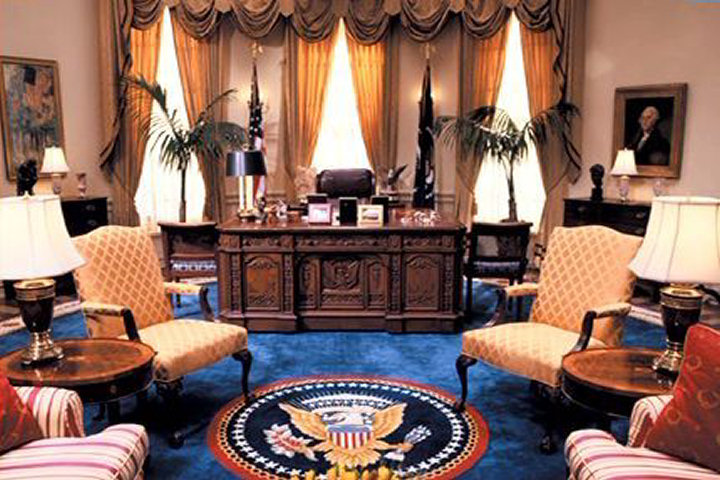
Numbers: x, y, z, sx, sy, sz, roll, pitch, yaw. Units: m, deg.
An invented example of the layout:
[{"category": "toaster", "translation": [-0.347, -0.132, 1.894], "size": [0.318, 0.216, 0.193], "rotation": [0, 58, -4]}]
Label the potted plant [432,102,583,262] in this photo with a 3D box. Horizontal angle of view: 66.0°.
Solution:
[{"category": "potted plant", "translation": [2.168, -0.890, 7.902], "size": [1.757, 1.673, 1.865], "rotation": [0, 4, -1]}]

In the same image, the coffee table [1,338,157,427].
[{"category": "coffee table", "translation": [-1.718, 0.804, 3.603], "size": [0.561, 0.321, 0.586], "rotation": [2, 9, -1]}]

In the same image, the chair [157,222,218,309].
[{"category": "chair", "translation": [-1.860, 0.263, 6.713], "size": [0.831, 1.029, 0.892], "rotation": [0, 8, -1]}]

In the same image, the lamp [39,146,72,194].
[{"category": "lamp", "translation": [-4.082, -0.919, 7.420], "size": [0.341, 0.615, 0.606], "rotation": [-8, 16, -29]}]

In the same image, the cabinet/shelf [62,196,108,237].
[{"category": "cabinet/shelf", "translation": [-3.368, -0.283, 6.760], "size": [0.284, 0.511, 0.509], "rotation": [6, 14, 26]}]

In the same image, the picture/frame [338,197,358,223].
[{"category": "picture/frame", "translation": [-0.128, -0.324, 6.004], "size": [0.210, 0.439, 0.235], "rotation": [0, 7, 1]}]

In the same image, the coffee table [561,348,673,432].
[{"category": "coffee table", "translation": [1.589, 0.847, 3.518], "size": [0.522, 0.356, 0.555], "rotation": [-2, 11, 1]}]

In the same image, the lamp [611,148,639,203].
[{"category": "lamp", "translation": [3.517, -0.856, 7.409], "size": [0.324, 0.673, 0.612], "rotation": [6, 15, 25]}]

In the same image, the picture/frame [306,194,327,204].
[{"category": "picture/frame", "translation": [-0.469, -0.444, 6.060], "size": [0.213, 0.090, 0.086], "rotation": [-2, 14, -6]}]

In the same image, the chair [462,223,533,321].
[{"category": "chair", "translation": [1.529, 0.287, 6.259], "size": [0.798, 1.252, 0.859], "rotation": [1, 7, 1]}]

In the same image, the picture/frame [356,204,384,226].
[{"category": "picture/frame", "translation": [0.111, -0.262, 5.944], "size": [0.337, 0.314, 0.194], "rotation": [0, 0, -2]}]

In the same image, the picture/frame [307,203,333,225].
[{"category": "picture/frame", "translation": [-0.441, -0.279, 5.999], "size": [0.258, 0.268, 0.203], "rotation": [-1, -6, 0]}]

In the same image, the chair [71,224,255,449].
[{"category": "chair", "translation": [-1.523, 0.594, 4.920], "size": [1.485, 2.018, 1.365], "rotation": [3, 6, 29]}]
